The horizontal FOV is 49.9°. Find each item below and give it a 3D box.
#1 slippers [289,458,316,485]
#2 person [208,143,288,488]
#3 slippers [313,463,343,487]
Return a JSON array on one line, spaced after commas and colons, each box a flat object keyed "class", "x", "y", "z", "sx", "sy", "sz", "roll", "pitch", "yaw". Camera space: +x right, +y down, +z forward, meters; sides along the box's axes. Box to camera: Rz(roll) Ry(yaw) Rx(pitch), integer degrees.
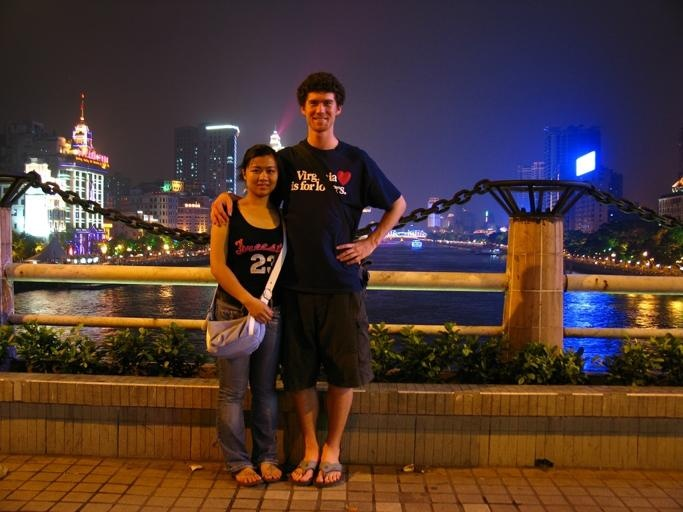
[{"class": "slippers", "x": -0.276, "y": 1.571, "z": 5.318, "sx": 0.204, "sy": 0.159, "sz": 0.145, "roll": 1, "pitch": -3, "yaw": -2}, {"class": "person", "x": -0.687, "y": 0.424, "z": 5.346, "sx": 0.549, "sy": 2.426, "sz": 0.443, "roll": 1, "pitch": -4, "yaw": -5}, {"class": "slippers", "x": -0.074, "y": 1.579, "z": 5.305, "sx": 0.254, "sy": 0.162, "sz": 0.105, "roll": 3, "pitch": -4, "yaw": -35}]
